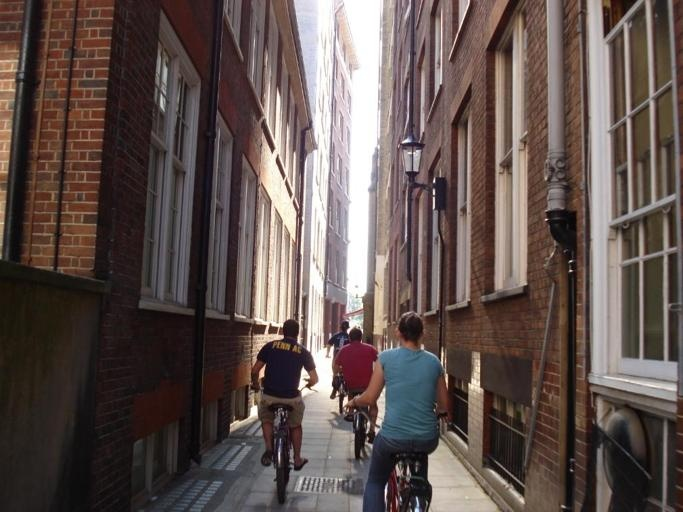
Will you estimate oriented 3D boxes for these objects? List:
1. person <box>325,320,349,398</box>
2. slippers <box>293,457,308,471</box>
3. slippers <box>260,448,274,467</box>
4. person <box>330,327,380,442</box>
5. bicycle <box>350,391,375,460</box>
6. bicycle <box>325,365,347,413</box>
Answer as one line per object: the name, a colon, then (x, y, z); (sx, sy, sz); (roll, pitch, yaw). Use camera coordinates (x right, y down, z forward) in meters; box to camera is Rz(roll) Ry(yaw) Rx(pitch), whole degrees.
person: (-0.048, 2.037, 13.519); (0.610, 1.100, 1.501); (2, -2, 3)
slippers: (-0.488, 2.657, 7.179); (0.110, 0.128, 0.301); (0, 3, 13)
slippers: (-0.864, 2.406, 6.767); (0.092, 0.159, 0.181); (1, 0, 2)
person: (0.245, 1.754, 9.225); (0.623, 1.030, 1.422); (1, -9, 3)
bicycle: (0.304, 2.756, 8.823); (0.504, 0.812, 1.145); (-1, -19, 2)
bicycle: (-0.057, 2.821, 11.871); (0.521, 0.852, 1.170); (3, -2, 1)
